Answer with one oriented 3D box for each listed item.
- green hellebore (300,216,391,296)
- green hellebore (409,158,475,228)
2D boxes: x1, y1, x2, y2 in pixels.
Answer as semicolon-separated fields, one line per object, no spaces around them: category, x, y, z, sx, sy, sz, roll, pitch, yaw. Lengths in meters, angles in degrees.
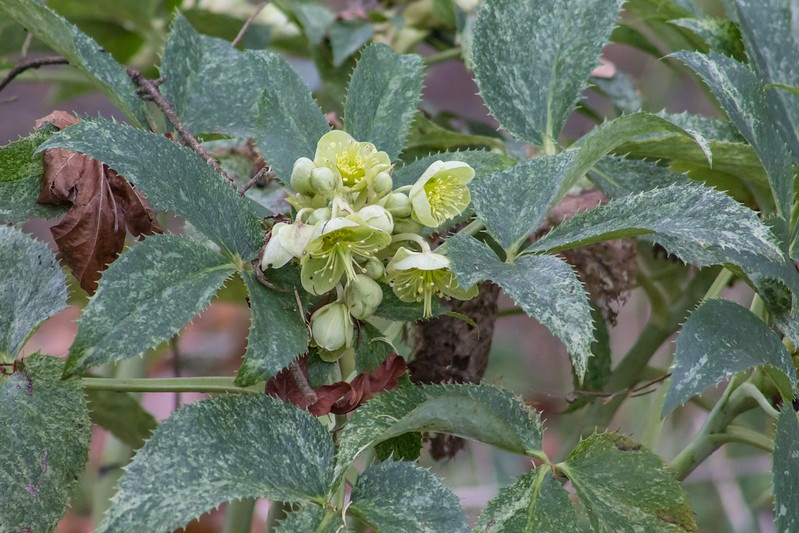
green hellebore;-0.050;-0.008;0.977;0.037;0.073;0.074;28;37;-37
green hellebore;0.042;-0.071;0.998;0.065;0.058;0.035;16;11;17
